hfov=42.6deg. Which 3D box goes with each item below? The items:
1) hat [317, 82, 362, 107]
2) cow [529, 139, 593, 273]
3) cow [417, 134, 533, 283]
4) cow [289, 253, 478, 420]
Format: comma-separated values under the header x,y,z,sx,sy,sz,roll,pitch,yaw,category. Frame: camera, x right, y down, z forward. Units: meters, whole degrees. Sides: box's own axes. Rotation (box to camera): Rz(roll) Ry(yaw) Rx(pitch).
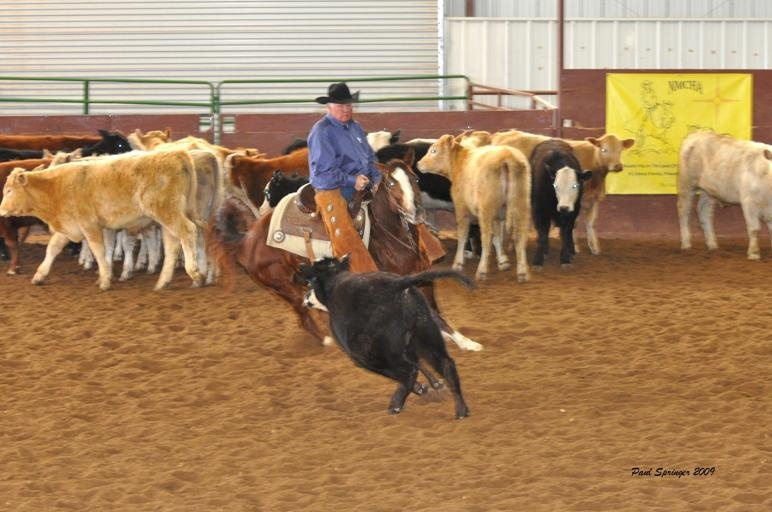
x,y,z,sx,sy,sz,roll,pitch,yaw,category
-0.464,-1.647,9.911,0.433,0.121,0.383,-5,0,2,hat
2.461,-0.732,13.909,0.798,1.726,1.170,0,14,7,cow
1.455,-0.747,14.083,1.134,1.763,2.933,-2,11,-16,cow
0.012,0.780,8.988,1.559,1.476,0.481,2,15,14,cow
